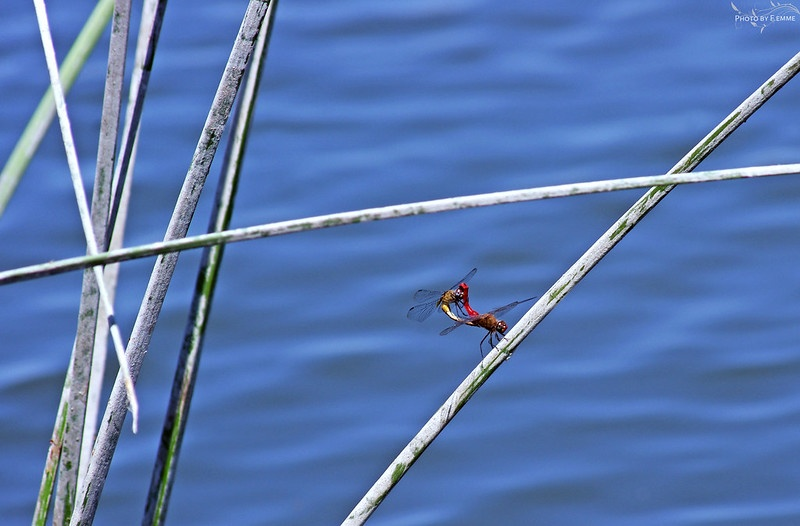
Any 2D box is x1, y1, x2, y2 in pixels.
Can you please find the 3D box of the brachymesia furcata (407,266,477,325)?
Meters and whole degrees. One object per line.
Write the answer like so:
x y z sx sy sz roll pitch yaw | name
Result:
0.293 0.193 6.408 0.279 0.497 0.198 -13 -75 -34 | brachymesia furcata

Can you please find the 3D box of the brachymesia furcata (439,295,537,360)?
0.425 0.346 6.274 0.360 0.637 0.226 6 -92 1 | brachymesia furcata
